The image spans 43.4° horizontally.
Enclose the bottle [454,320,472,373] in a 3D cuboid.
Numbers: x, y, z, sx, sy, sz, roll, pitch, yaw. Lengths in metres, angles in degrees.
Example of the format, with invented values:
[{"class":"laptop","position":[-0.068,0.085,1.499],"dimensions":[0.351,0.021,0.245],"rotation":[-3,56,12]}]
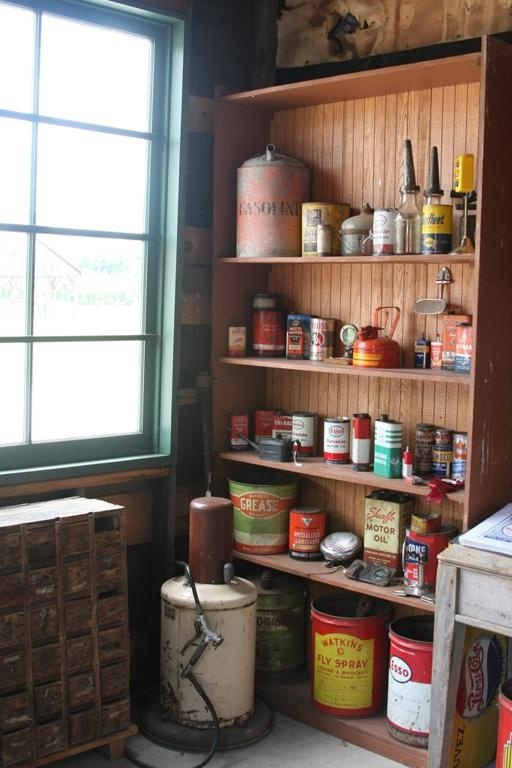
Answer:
[{"class":"bottle","position":[0.650,-0.108,2.011],"dimensions":[0.030,0.152,0.103],"rotation":[-2,-3,-4]}]

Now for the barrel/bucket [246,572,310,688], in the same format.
[{"class":"barrel/bucket","position":[0.006,0.985,2.687],"dimensions":[0.347,0.382,0.352],"rotation":[1,-1,0]}]

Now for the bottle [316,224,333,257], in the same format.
[{"class":"bottle","position":[0.249,-0.538,2.421],"dimensions":[0.066,0.123,0.038],"rotation":[-4,-3,23]}]

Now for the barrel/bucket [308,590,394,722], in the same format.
[{"class":"barrel/bucket","position":[0.358,1.012,2.410],"dimensions":[0.313,0.392,0.304],"rotation":[-2,-2,0]}]

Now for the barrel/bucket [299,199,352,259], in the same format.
[{"class":"barrel/bucket","position":[0.245,-0.609,2.553],"dimensions":[0.198,0.227,0.205],"rotation":[0,8,0]}]

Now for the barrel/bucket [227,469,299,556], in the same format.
[{"class":"barrel/bucket","position":[0.035,0.543,2.781],"dimensions":[0.299,0.280,0.292],"rotation":[1,-1,0]}]

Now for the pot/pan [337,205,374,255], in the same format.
[{"class":"pot/pan","position":[0.351,-0.558,2.360],"dimensions":[0.140,0.151,0.148],"rotation":[0,15,4]}]

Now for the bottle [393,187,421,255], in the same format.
[{"class":"bottle","position":[0.511,-0.535,2.172],"dimensions":[0.089,0.206,0.078],"rotation":[-3,-3,14]}]
